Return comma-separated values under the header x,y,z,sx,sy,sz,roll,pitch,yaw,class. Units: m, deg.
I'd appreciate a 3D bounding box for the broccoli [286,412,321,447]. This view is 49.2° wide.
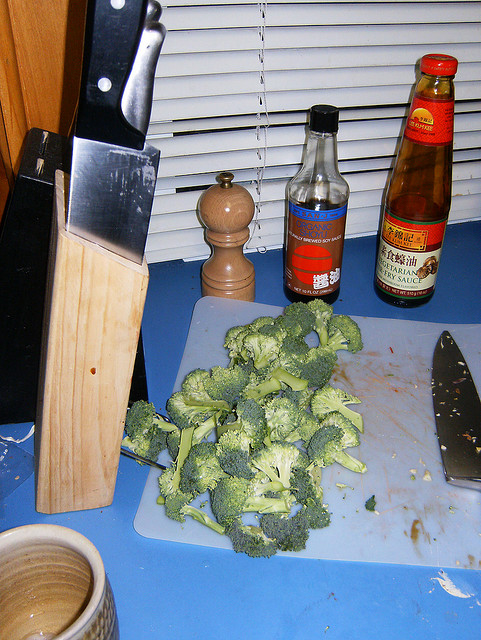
x,y,z,sx,sy,sz,roll,pitch,yaw,class
0.085,0.152,0.740,0.047,0.041,0.028,-29,-10,-2,broccoli

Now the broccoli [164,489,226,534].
x,y,z,sx,sy,sz,roll,pitch,yaw,class
-0.053,0.230,0.671,0.071,0.044,0.033,31,10,1,broccoli

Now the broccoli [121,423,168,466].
x,y,z,sx,sy,sz,roll,pitch,yaw,class
-0.134,0.177,0.717,0.060,0.052,0.027,-1,-7,-29,broccoli

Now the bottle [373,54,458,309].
x,y,z,sx,sy,sz,roll,pitch,yaw,class
0.341,-0.249,0.994,0.125,0.447,0.263,8,31,14,bottle

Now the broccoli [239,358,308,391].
x,y,z,sx,sy,sz,roll,pitch,yaw,class
0.050,0.091,0.791,0.059,0.019,0.061,29,13,40,broccoli

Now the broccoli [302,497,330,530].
x,y,z,sx,sy,sz,roll,pitch,yaw,class
0.093,0.238,0.647,0.034,0.019,0.034,-5,5,-23,broccoli

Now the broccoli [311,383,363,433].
x,y,z,sx,sy,sz,roll,pitch,yaw,class
0.144,0.137,0.802,0.060,0.017,0.075,-38,82,-28,broccoli

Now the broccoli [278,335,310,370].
x,y,z,sx,sy,sz,roll,pitch,yaw,class
0.080,0.048,0.814,0.037,0.013,0.052,26,52,-3,broccoli

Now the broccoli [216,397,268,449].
x,y,z,sx,sy,sz,roll,pitch,yaw,class
-0.005,0.130,0.684,0.084,0.031,0.066,-8,19,-18,broccoli

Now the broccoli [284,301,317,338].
x,y,z,sx,sy,sz,roll,pitch,yaw,class
0.105,0.001,0.886,0.050,0.058,0.021,1,-10,-25,broccoli

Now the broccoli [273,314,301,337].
x,y,z,sx,sy,sz,roll,pitch,yaw,class
0.082,0.008,0.877,0.031,0.013,0.040,2,34,-6,broccoli

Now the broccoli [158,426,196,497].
x,y,z,sx,sy,sz,roll,pitch,yaw,class
-0.080,0.178,0.669,0.038,0.078,0.038,7,-14,44,broccoli

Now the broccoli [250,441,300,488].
x,y,z,sx,sy,sz,roll,pitch,yaw,class
0.030,0.179,0.683,0.061,0.036,0.051,10,23,13,broccoli

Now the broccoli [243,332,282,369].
x,y,z,sx,sy,sz,roll,pitch,yaw,class
0.042,0.045,0.853,0.052,0.053,0.050,22,66,19,broccoli

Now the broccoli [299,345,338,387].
x,y,z,sx,sy,sz,roll,pitch,yaw,class
0.121,0.067,0.818,0.059,0.024,0.087,-16,24,6,broccoli

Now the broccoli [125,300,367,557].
x,y,z,sx,sy,sz,roll,pitch,yaw,class
0.020,0.111,0.766,0.286,0.099,0.418,17,50,18,broccoli

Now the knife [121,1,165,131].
x,y,z,sx,sy,sz,roll,pitch,yaw,class
-0.080,-0.229,0.478,0.037,0.101,0.093,4,31,6,knife

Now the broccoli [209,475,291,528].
x,y,z,sx,sy,sz,roll,pitch,yaw,class
0.017,0.222,0.627,0.103,0.050,0.065,-4,12,29,broccoli

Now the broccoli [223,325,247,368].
x,y,z,sx,sy,sz,roll,pitch,yaw,class
-0.010,0.044,0.891,0.036,0.029,0.063,3,57,6,broccoli

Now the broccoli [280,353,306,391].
x,y,z,sx,sy,sz,roll,pitch,yaw,class
0.080,0.080,0.803,0.045,0.046,0.014,-18,5,-12,broccoli

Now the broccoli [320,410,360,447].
x,y,z,sx,sy,sz,roll,pitch,yaw,class
0.138,0.155,0.758,0.049,0.016,0.045,49,37,-5,broccoli

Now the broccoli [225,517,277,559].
x,y,z,sx,sy,sz,roll,pitch,yaw,class
0.012,0.254,0.619,0.049,0.019,0.043,15,26,-15,broccoli

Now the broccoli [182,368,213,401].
x,y,z,sx,sy,sz,roll,pitch,yaw,class
-0.073,0.096,0.777,0.038,0.015,0.043,-1,63,6,broccoli

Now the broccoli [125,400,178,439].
x,y,z,sx,sy,sz,roll,pitch,yaw,class
-0.117,0.136,0.721,0.059,0.034,0.053,31,40,-26,broccoli
